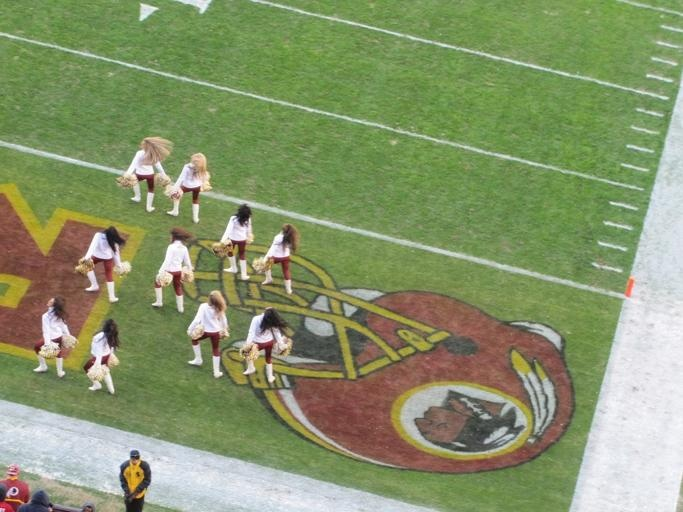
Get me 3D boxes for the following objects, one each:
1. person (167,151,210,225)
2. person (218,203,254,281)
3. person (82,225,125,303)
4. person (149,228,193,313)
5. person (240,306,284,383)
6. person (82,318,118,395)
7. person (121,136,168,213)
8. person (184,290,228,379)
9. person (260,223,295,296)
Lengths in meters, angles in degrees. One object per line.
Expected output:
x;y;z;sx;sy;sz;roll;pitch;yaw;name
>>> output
-3.705;-1.823;47.684;0.895;1.924;1.090;19;45;-7;person
-2.476;-0.374;46.655;0.990;2.040;0.877;13;47;-13;person
-5.608;0.086;45.862;1.162;2.018;0.937;24;45;-2;person
-4.058;0.341;45.765;1.227;1.888;0.761;2;5;-34;person
-1.771;2.024;44.950;1.095;2.227;0.923;16;46;-10;person
-5.585;2.293;44.503;1.182;1.649;0.754;-4;27;-18;person
-4.841;-2.149;47.751;1.129;2.037;1.311;20;44;-5;person
-3.050;1.742;44.967;1.202;2.320;1.167;14;46;-12;person
-1.365;0.001;46.551;0.963;1.976;0.715;20;46;-6;person
